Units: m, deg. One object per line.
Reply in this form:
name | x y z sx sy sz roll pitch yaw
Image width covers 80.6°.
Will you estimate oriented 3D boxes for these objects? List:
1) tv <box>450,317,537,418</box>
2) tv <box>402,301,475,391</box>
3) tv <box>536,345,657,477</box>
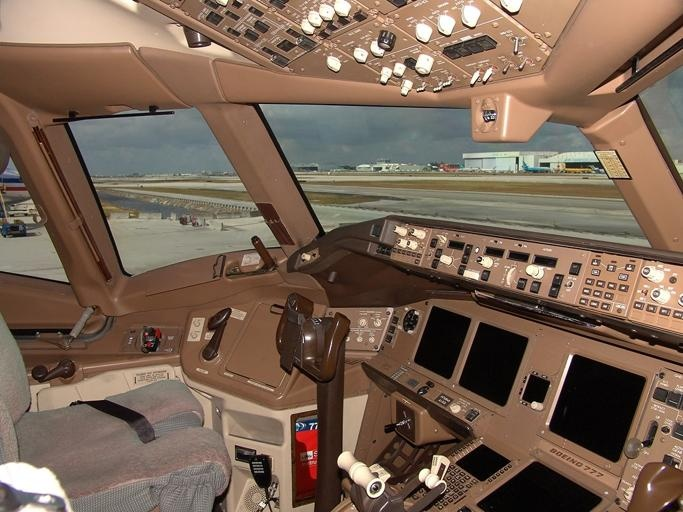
tv | 0.955 0.678 2.493 0.112 0.397 0.459 18 2 -36
tv | 0.705 0.606 2.812 0.118 0.402 0.470 17 6 -39
tv | 1.196 0.760 1.945 0.111 0.409 0.466 11 12 -47
